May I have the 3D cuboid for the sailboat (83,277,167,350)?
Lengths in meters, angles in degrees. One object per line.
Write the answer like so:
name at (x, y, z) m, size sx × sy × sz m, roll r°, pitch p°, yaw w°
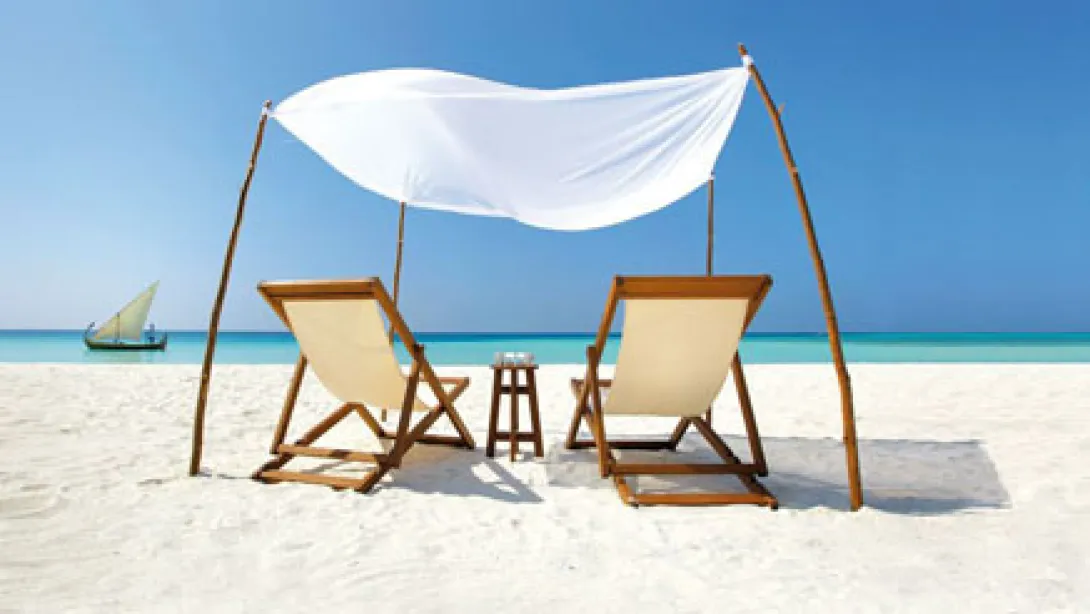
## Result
sailboat at (-39.791, 1.082, 74.239) m, size 5.884 × 6.109 × 5.552 m, roll -2°, pitch 9°, yaw -26°
